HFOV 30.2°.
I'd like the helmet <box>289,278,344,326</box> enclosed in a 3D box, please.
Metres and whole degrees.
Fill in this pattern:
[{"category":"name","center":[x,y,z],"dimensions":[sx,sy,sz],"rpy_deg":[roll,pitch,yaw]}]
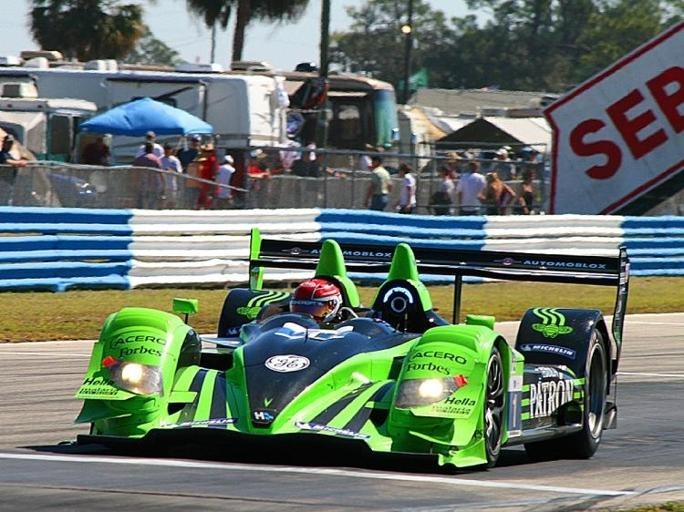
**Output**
[{"category":"helmet","center":[-0.258,0.399,11.476],"dimensions":[0.560,0.350,0.525],"rpy_deg":[0,14,-4]}]

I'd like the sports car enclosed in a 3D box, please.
[{"category":"sports car","center":[0.214,0.820,11.000],"dimensions":[3.750,1.843,2.950],"rpy_deg":[3,2,19]}]
